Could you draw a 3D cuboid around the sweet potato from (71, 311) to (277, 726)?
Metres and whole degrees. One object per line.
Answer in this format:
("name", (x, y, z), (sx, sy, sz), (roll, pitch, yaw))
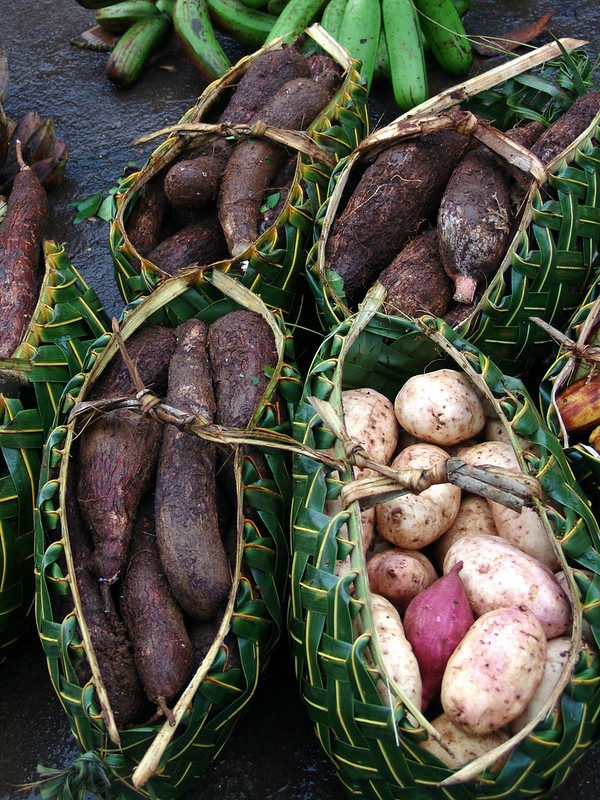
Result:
("sweet potato", (-0.219, 0.161, 1.164), (0.198, 0.296, 0.574), (-31, 40, 32))

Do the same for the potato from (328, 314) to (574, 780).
("potato", (0.224, 0.236, 1.148), (0.394, 0.190, 0.554), (10, 51, 1))

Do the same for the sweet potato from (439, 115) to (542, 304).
("sweet potato", (0.379, -0.359, 1.418), (0.139, 0.129, 0.354), (3, 58, 27))

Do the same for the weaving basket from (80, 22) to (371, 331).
("weaving basket", (-0.068, -0.420, 1.629), (0.479, 0.274, 0.680), (14, 66, 22))

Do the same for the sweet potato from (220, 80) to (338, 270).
("sweet potato", (-0.065, -0.479, 1.588), (0.159, 0.122, 0.495), (16, 64, 19))

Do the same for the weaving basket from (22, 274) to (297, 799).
("weaving basket", (-0.210, 0.195, 1.207), (0.378, 0.243, 0.697), (15, 59, -10))

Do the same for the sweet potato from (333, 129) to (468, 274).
("sweet potato", (0.193, -0.364, 1.411), (0.109, 0.115, 0.323), (39, 83, 1))

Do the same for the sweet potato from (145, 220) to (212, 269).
("sweet potato", (-0.219, -0.301, 1.505), (0.077, 0.051, 0.165), (29, 54, 27))
